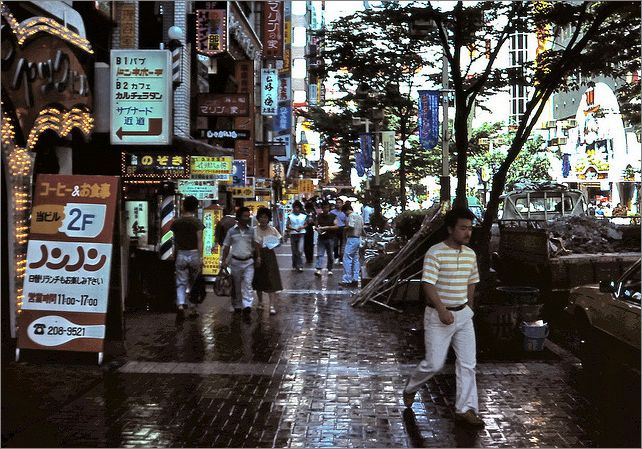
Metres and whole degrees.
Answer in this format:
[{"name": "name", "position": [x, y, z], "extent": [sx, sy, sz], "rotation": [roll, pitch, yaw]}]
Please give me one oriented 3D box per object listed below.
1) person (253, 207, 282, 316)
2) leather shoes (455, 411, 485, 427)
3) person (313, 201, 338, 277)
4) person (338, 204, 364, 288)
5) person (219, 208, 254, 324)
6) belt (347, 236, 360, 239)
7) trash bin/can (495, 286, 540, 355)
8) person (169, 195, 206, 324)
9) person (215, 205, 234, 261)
[{"name": "person", "position": [-1.131, 0.745, 13.889], "extent": [0.570, 2.218, 1.280], "rotation": [0, 5, -4]}, {"name": "leather shoes", "position": [1.733, 2.262, 7.697], "extent": [0.358, 0.159, 0.145], "rotation": [5, 8, 44]}, {"name": "person", "position": [0.175, 0.460, 20.081], "extent": [0.679, 2.319, 1.549], "rotation": [0, 5, 0]}, {"name": "person", "position": [0.855, 0.558, 17.585], "extent": [0.550, 2.174, 1.344], "rotation": [0, 5, 1]}, {"name": "person", "position": [-1.636, 0.752, 13.270], "extent": [0.727, 2.221, 0.546], "rotation": [1, 5, 10]}, {"name": "belt", "position": [0.860, 0.325, 17.309], "extent": [0.299, 0.067, 0.095], "rotation": [2, 6, 16]}, {"name": "trash bin/can", "position": [3.262, 1.478, 10.549], "extent": [0.822, 1.221, 0.864], "rotation": [0, -2, 1]}, {"name": "person", "position": [-2.707, 0.672, 13.313], "extent": [0.601, 2.482, 0.948], "rotation": [-1, 5, -14]}, {"name": "person", "position": [-2.345, 0.088, 16.461], "extent": [0.553, 1.556, 0.499], "rotation": [-15, 51, -13]}]
